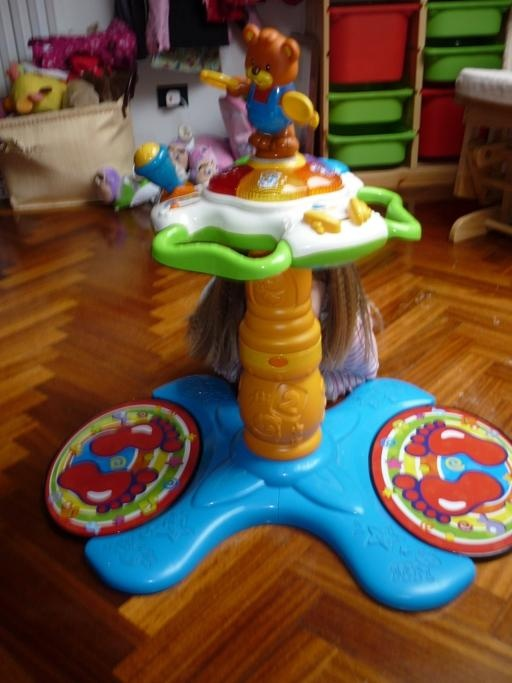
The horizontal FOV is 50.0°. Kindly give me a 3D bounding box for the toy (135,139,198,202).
[{"bbox_3d":[-0.110,-0.214,0.679,0.068,0.084,0.166,-5,31,-5],"label":"toy"}]

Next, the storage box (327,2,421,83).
[{"bbox_3d":[0.393,-0.988,1.812,0.296,0.212,0.244,-3,28,-3],"label":"storage box"}]

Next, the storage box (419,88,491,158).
[{"bbox_3d":[0.743,-0.802,2.063,0.275,0.198,0.233,10,17,18],"label":"storage box"}]

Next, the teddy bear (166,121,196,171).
[{"bbox_3d":[-0.260,-0.685,1.948,0.131,0.179,0.060,4,-6,-24],"label":"teddy bear"}]

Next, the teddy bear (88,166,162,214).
[{"bbox_3d":[-0.505,-0.595,2.054,0.132,0.094,0.233,2,33,40],"label":"teddy bear"}]

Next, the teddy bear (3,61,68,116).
[{"bbox_3d":[-0.775,-0.897,1.935,0.193,0.126,0.206,15,53,-5],"label":"teddy bear"}]
